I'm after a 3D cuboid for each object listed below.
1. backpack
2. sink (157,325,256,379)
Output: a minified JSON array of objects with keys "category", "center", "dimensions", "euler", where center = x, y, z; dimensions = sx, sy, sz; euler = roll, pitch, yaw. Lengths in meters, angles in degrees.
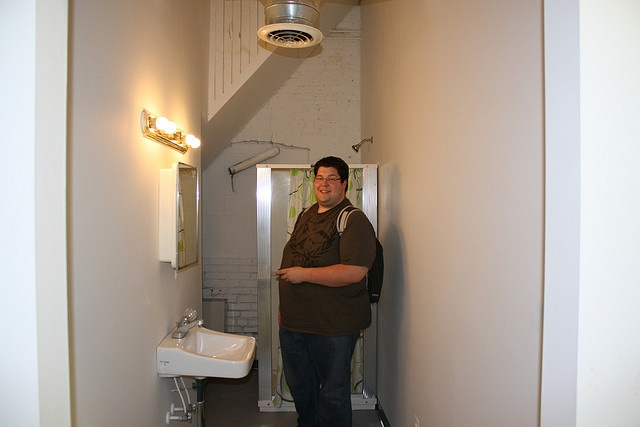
[{"category":"backpack","center":[0.168,0.251,3.287],"dimensions":[0.503,0.561,0.358],"euler":[10,-5,0]},{"category":"sink","center":[-0.626,0.807,2.997],"dimensions":[0.347,0.160,0.358],"euler":[2,2,-3]}]
